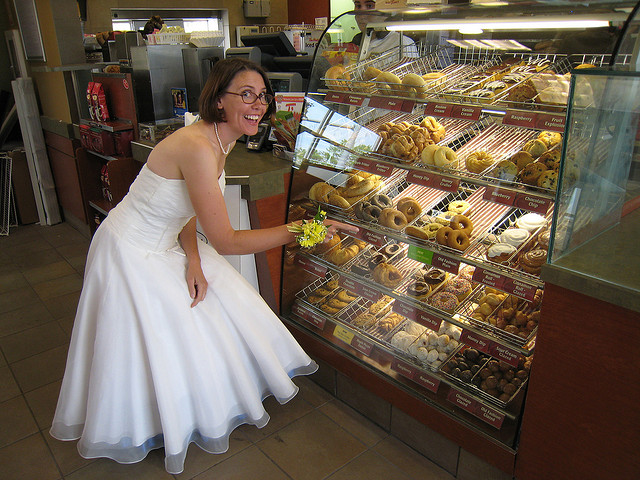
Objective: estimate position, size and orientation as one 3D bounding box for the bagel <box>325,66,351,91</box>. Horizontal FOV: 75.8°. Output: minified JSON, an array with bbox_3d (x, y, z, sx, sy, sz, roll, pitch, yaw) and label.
[{"bbox_3d":[0.095,-0.904,2.290,0.150,0.123,0.078,9,28,15],"label":"bagel"}]

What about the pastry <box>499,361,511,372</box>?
[{"bbox_3d":[0.856,0.589,1.918,0.044,0.013,0.040,-5,33,7],"label":"pastry"}]

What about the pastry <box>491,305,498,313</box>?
[{"bbox_3d":[0.824,0.324,1.950,0.027,0.030,0.010,10,-9,-33],"label":"pastry"}]

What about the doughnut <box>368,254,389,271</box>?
[{"bbox_3d":[0.333,0.123,2.347,0.092,0.031,0.090,-20,29,51],"label":"doughnut"}]

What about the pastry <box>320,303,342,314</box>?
[{"bbox_3d":[0.062,0.414,2.507,0.102,0.049,0.033,18,-9,25],"label":"pastry"}]

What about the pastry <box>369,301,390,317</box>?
[{"bbox_3d":[0.340,0.391,2.395,0.095,0.028,0.087,-19,47,22],"label":"pastry"}]

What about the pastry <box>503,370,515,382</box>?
[{"bbox_3d":[0.865,0.619,1.887,0.042,0.041,0.050,38,-5,13],"label":"pastry"}]

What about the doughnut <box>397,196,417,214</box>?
[{"bbox_3d":[0.462,-0.193,2.224,0.100,0.089,0.026,-3,-7,-25],"label":"doughnut"}]

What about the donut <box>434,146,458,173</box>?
[{"bbox_3d":[0.604,-0.385,2.056,0.134,0.123,0.047,7,-24,-35],"label":"donut"}]

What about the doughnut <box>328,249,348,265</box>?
[{"bbox_3d":[0.103,0.097,2.410,0.097,0.081,0.091,1,-2,7],"label":"doughnut"}]

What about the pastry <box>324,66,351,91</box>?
[{"bbox_3d":[0.103,-0.905,2.285,0.109,0.100,0.110,11,45,-25],"label":"pastry"}]

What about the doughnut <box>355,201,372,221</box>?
[{"bbox_3d":[0.243,-0.167,2.324,0.033,0.092,0.098,-25,41,-35],"label":"doughnut"}]

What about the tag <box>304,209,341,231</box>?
[{"bbox_3d":[0.015,-0.157,2.402,0.150,0.038,0.160,30,18,13],"label":"tag"}]

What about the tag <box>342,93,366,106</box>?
[{"bbox_3d":[0.180,-0.764,2.222,0.116,0.071,0.026,12,-15,20],"label":"tag"}]

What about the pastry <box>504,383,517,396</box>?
[{"bbox_3d":[0.850,0.666,1.844,0.029,0.049,0.037,20,42,-44],"label":"pastry"}]

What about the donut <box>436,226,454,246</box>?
[{"bbox_3d":[0.606,-0.022,2.008,0.088,0.079,0.028,4,-15,-20],"label":"donut"}]

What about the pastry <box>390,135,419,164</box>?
[{"bbox_3d":[0.436,-0.472,2.121,0.150,0.134,0.061,-8,-6,13],"label":"pastry"}]

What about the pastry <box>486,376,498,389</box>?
[{"bbox_3d":[0.789,0.654,1.899,0.047,0.043,0.046,18,21,-51],"label":"pastry"}]

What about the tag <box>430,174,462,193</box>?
[{"bbox_3d":[0.594,-0.275,1.955,0.134,0.061,0.048,18,31,30],"label":"tag"}]

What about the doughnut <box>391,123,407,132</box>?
[{"bbox_3d":[0.430,-0.610,2.207,0.057,0.026,0.052,-18,53,-27],"label":"doughnut"}]

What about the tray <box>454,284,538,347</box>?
[{"bbox_3d":[0.763,0.320,1.848,0.225,0.043,0.223,27,55,39],"label":"tray"}]

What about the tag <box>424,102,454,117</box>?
[{"bbox_3d":[0.556,-0.619,1.937,0.138,0.056,0.040,21,33,36],"label":"tag"}]

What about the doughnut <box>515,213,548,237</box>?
[{"bbox_3d":[0.997,-0.083,1.942,0.117,0.061,0.113,8,19,29],"label":"doughnut"}]

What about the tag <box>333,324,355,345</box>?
[{"bbox_3d":[0.145,0.550,2.409,0.012,0.070,0.124,9,12,-45],"label":"tag"}]

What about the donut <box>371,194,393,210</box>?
[{"bbox_3d":[0.344,-0.220,2.273,0.091,0.033,0.082,7,45,-14],"label":"donut"}]

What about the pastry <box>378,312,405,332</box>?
[{"bbox_3d":[0.401,0.457,2.336,0.134,0.039,0.096,-35,24,-12],"label":"pastry"}]

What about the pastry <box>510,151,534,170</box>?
[{"bbox_3d":[0.900,-0.363,1.837,0.082,0.051,0.090,8,42,17],"label":"pastry"}]

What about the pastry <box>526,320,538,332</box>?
[{"bbox_3d":[0.935,0.378,1.826,0.045,0.042,0.032,3,-15,44],"label":"pastry"}]

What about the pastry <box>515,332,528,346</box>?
[{"bbox_3d":[0.886,0.427,1.812,0.050,0.011,0.047,12,55,36],"label":"pastry"}]

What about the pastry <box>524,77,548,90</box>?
[{"bbox_3d":[0.912,-0.662,1.733,0.059,0.041,0.067,-11,28,-23],"label":"pastry"}]

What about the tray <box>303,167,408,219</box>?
[{"bbox_3d":[0.174,-0.279,2.334,0.431,0.075,0.268,-40,40,-26],"label":"tray"}]

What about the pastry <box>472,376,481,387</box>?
[{"bbox_3d":[0.736,0.663,1.929,0.039,0.026,0.037,-1,-3,11],"label":"pastry"}]

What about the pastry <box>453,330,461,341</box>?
[{"bbox_3d":[0.695,0.486,2.102,0.036,0.033,0.045,12,19,-9],"label":"pastry"}]

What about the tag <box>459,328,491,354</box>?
[{"bbox_3d":[0.686,0.458,1.861,0.098,0.022,0.091,24,14,37],"label":"tag"}]

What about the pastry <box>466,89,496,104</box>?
[{"bbox_3d":[0.725,-0.652,1.848,0.089,0.082,0.027,46,6,34],"label":"pastry"}]

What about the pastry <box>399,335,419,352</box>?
[{"bbox_3d":[0.464,0.542,2.191,0.071,0.031,0.082,1,25,2],"label":"pastry"}]

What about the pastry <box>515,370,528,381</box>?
[{"bbox_3d":[0.904,0.605,1.858,0.060,0.031,0.058,7,34,36],"label":"pastry"}]

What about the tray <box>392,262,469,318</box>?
[{"bbox_3d":[0.558,0.261,2.136,0.307,0.050,0.300,23,60,43],"label":"tray"}]

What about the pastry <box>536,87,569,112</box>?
[{"bbox_3d":[0.958,-0.597,1.698,0.115,0.066,0.063,16,30,28],"label":"pastry"}]

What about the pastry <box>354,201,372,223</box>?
[{"bbox_3d":[0.237,-0.166,2.301,0.034,0.091,0.094,-13,35,-12],"label":"pastry"}]

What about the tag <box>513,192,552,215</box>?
[{"bbox_3d":[0.887,-0.161,1.718,0.094,0.052,0.014,21,0,39],"label":"tag"}]

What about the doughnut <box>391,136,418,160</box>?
[{"bbox_3d":[0.440,-0.480,2.131,0.135,0.108,0.069,11,29,18],"label":"doughnut"}]

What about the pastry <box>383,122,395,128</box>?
[{"bbox_3d":[0.377,-0.629,2.241,0.043,0.011,0.039,8,6,4],"label":"pastry"}]

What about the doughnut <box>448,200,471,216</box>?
[{"bbox_3d":[0.718,-0.177,2.129,0.087,0.029,0.077,-8,29,3],"label":"doughnut"}]

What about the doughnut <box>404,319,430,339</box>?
[{"bbox_3d":[0.514,0.478,2.247,0.075,0.031,0.098,-32,54,-21],"label":"doughnut"}]

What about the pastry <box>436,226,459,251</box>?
[{"bbox_3d":[0.612,-0.011,2.007,0.096,0.087,0.032,-10,-20,-47],"label":"pastry"}]

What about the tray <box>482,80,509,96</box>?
[{"bbox_3d":[0.784,-0.694,1.850,0.064,0.028,0.107,25,54,40],"label":"tray"}]

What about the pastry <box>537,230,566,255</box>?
[{"bbox_3d":[0.949,-0.007,1.701,0.132,0.041,0.123,-13,38,32],"label":"pastry"}]

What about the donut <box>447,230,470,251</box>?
[{"bbox_3d":[0.658,-0.001,1.993,0.102,0.095,0.034,-26,-12,-18],"label":"donut"}]

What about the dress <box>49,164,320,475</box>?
[{"bbox_3d":[-0.768,0.394,2.065,1.158,1.428,0.837,11,29,17],"label":"dress"}]

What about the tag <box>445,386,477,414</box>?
[{"bbox_3d":[0.669,0.753,1.939,0.015,0.082,0.145,9,14,-44],"label":"tag"}]

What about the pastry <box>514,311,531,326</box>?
[{"bbox_3d":[0.917,0.349,1.852,0.059,0.024,0.053,-6,66,7],"label":"pastry"}]

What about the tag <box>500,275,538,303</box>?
[{"bbox_3d":[0.843,0.201,1.752,0.046,0.074,0.139,-20,33,-36],"label":"tag"}]

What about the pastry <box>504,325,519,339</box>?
[{"bbox_3d":[0.855,0.405,1.846,0.057,0.028,0.068,24,33,38],"label":"pastry"}]
